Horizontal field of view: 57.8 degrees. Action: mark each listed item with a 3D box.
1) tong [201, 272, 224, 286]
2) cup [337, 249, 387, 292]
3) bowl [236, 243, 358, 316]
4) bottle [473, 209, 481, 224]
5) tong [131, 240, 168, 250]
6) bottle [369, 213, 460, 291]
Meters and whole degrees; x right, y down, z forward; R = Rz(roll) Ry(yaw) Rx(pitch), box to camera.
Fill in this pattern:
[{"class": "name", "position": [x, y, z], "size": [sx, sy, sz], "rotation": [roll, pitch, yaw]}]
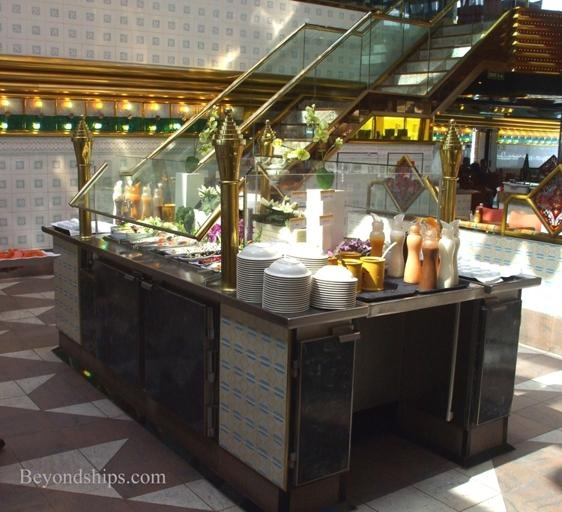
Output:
[{"class": "tong", "position": [-0.375, 0.127, 2.761], "size": [0.062, 0.021, 0.185], "rotation": [-5, 16, -21]}, {"class": "cup", "position": [0.365, 0.073, 2.554], "size": [0.250, 0.159, 0.152], "rotation": [14, 20, 42]}, {"class": "bowl", "position": [0.039, 0.081, 2.238], "size": [0.422, 0.172, 0.298], "rotation": [-3, 12, -45]}, {"class": "bottle", "position": [2.208, -0.457, 5.719], "size": [0.067, 0.153, 0.176], "rotation": [6, 12, 23]}, {"class": "tong", "position": [-0.915, -0.080, 3.583], "size": [0.150, 0.067, 0.322], "rotation": [-7, 13, -40]}, {"class": "bottle", "position": [0.768, -0.031, 2.694], "size": [0.310, 0.353, 0.335], "rotation": [-4, 12, -25]}]
